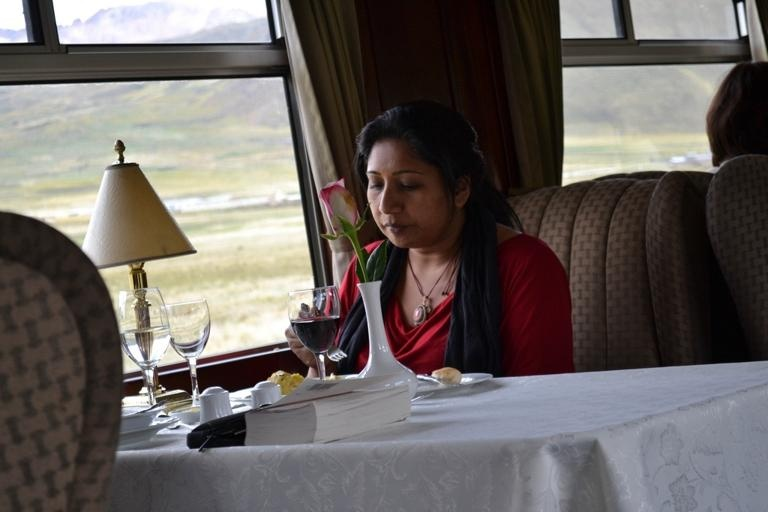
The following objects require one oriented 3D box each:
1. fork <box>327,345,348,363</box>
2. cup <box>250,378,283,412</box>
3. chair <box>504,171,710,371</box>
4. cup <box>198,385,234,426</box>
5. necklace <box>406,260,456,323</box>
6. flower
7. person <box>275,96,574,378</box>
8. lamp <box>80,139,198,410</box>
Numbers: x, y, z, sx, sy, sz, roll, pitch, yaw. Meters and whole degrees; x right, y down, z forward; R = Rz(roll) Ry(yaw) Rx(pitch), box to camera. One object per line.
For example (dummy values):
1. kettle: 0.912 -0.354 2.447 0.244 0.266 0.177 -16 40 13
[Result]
1. fork: -0.108 0.229 1.507 0.017 0.047 0.087 23 -10 8
2. cup: -0.238 0.276 1.317 0.070 0.062 0.054 -3 0 7
3. chair: 0.810 0.081 2.440 0.515 0.812 0.626 -11 -15 25
4. cup: -0.333 0.291 1.278 0.061 0.089 0.070 -1 4 5
5. necklace: 0.128 0.087 1.967 0.144 0.309 0.036 2 35 -13
6. flower: -0.056 -0.049 1.350 0.093 0.220 0.107 -19 13 28
7. person: 0.136 0.006 2.087 0.856 0.949 0.496 -1 6 37
8. lamp: -0.843 0.085 2.211 0.406 0.961 0.426 -9 0 -16
